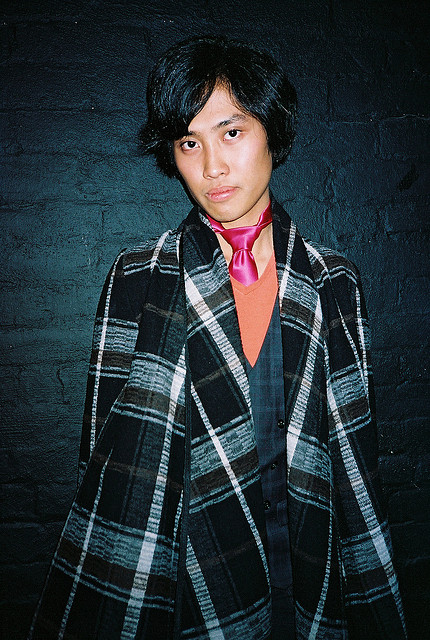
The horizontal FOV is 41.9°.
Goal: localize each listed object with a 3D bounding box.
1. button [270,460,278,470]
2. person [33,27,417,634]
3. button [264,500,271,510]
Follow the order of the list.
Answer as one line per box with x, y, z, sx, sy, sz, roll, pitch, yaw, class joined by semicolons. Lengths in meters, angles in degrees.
0.124;0.304;1.170;0.011;0.019;0.004;26;5;25;button
0.028;-0.008;1.187;0.712;1.359;0.267;3;-4;-17;person
0.108;0.382;1.154;0.014;0.015;0.004;34;-14;-35;button
